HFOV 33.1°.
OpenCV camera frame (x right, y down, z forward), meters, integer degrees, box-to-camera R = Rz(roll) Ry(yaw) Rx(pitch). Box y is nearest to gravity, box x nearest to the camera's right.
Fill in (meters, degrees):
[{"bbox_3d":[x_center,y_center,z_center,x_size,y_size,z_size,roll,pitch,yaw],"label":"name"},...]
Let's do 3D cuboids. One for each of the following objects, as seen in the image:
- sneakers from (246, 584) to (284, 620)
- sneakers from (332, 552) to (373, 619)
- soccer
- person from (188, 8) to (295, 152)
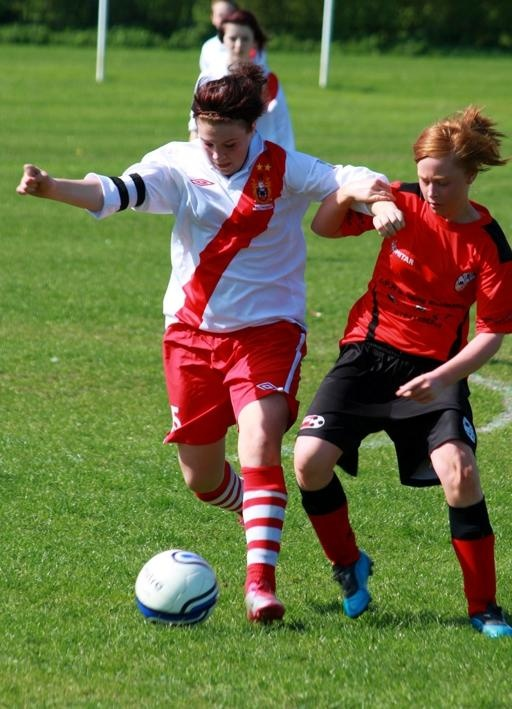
[{"bbox_3d":[0.025,0.738,2.545,0.090,0.115,0.102,-8,13,-28],"label":"sneakers"},{"bbox_3d":[0.313,0.742,2.790,0.118,0.204,0.079,30,-37,-35],"label":"sneakers"},{"bbox_3d":[-0.245,0.713,2.632,0.227,0.208,0.146,6,14,31],"label":"soccer"},{"bbox_3d":[-0.136,-1.916,6.409,0.851,1.344,0.344,-9,47,-10],"label":"person"}]
